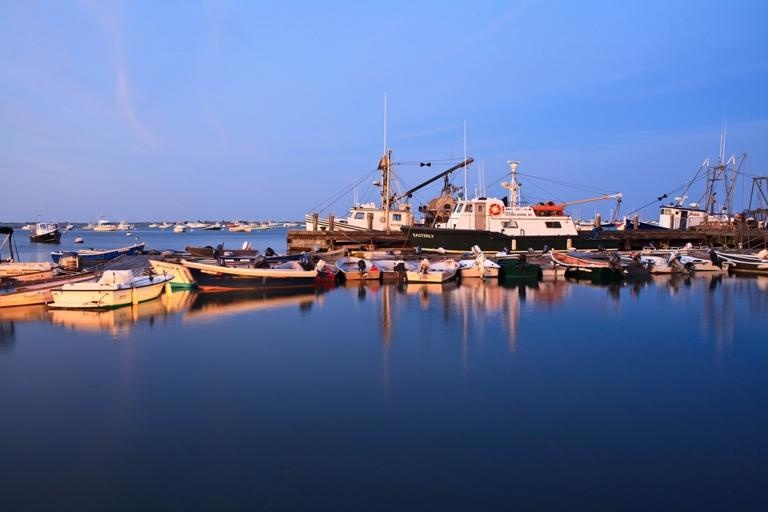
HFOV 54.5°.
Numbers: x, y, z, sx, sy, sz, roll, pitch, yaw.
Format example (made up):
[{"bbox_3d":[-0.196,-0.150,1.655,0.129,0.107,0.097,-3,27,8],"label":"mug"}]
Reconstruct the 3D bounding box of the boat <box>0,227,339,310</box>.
[{"bbox_3d":[-9.348,1.050,33.389,5.959,2.193,14.449,7,11,40],"label":"boat"}]
